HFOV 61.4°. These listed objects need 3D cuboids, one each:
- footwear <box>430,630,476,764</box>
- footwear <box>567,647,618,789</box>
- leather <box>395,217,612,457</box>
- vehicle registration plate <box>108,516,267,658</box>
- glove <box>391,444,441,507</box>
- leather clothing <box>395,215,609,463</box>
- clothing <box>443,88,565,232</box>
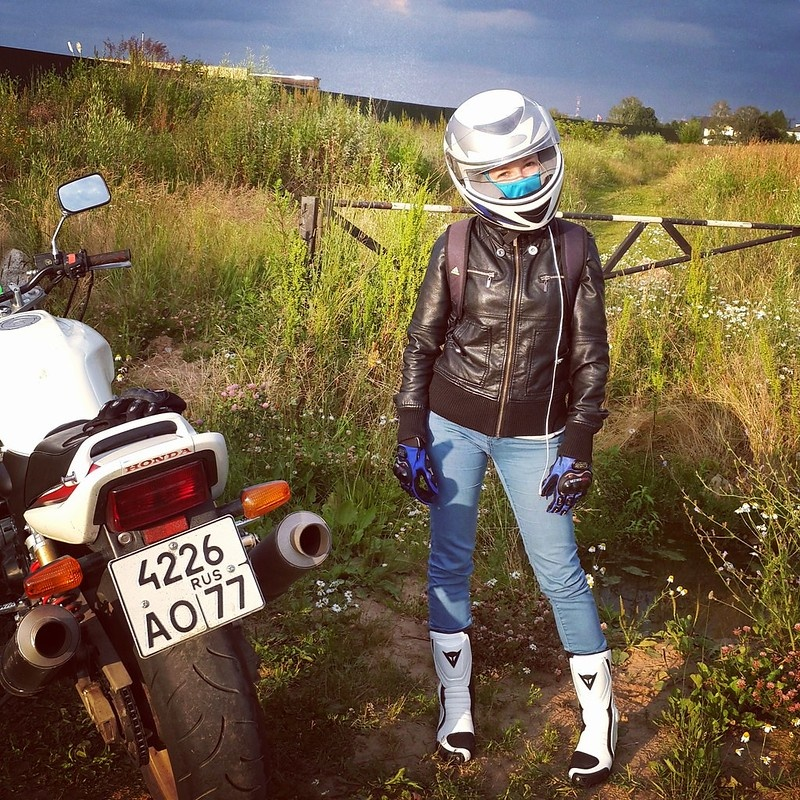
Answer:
[{"bbox_3d":[0.211,1.129,2.574,0.118,0.461,0.420,-6,14,7],"label":"footwear"},{"bbox_3d":[0.695,1.156,2.438,0.119,0.429,0.368,-11,0,31],"label":"footwear"},{"bbox_3d":[0.376,-0.199,2.463,0.708,1.012,0.416,4,-16,18],"label":"leather"},{"bbox_3d":[-0.564,0.484,1.759,0.294,0.263,0.041,-23,-9,-23],"label":"vehicle registration plate"},{"bbox_3d":[0.046,0.309,2.444,0.140,0.235,0.094,-20,0,-39],"label":"glove"},{"bbox_3d":[0.380,-0.205,2.426,0.649,0.966,0.412,3,-7,17],"label":"leather clothing"},{"bbox_3d":[0.386,-0.804,2.351,0.314,0.388,0.481,-17,25,-4],"label":"clothing"}]
